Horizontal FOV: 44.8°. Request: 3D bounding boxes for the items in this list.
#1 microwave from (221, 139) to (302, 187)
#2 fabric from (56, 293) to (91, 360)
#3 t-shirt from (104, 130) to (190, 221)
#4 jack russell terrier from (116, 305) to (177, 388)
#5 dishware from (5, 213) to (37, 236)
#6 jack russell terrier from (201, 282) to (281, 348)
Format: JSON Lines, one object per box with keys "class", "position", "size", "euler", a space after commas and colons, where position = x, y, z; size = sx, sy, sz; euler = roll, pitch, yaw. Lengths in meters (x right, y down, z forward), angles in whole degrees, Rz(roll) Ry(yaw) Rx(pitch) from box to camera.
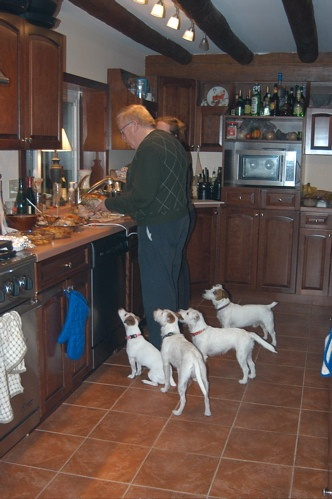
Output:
{"class": "microwave", "position": [1.068, -0.925, 4.537], "size": [0.772, 0.477, 0.465], "euler": [3, 6, 12]}
{"class": "fabric", "position": [-0.451, 0.366, 1.950], "size": [0.064, 0.358, 0.221], "euler": [1, 3, 14]}
{"class": "t-shirt", "position": [-0.082, -0.494, 2.645], "size": [0.460, 0.588, 0.738], "euler": [-3, 16, 20]}
{"class": "jack russell terrier", "position": [-0.104, 0.596, 2.353], "size": [0.471, 0.380, 0.160], "euler": [15, 18, 30]}
{"class": "dishware", "position": [-0.714, -0.125, 1.969], "size": [0.097, 0.070, 0.098], "euler": [1, 1, 3]}
{"class": "jack russell terrier", "position": [0.541, 0.478, 2.935], "size": [0.535, 0.412, 0.218], "euler": [0, 7, -3]}
